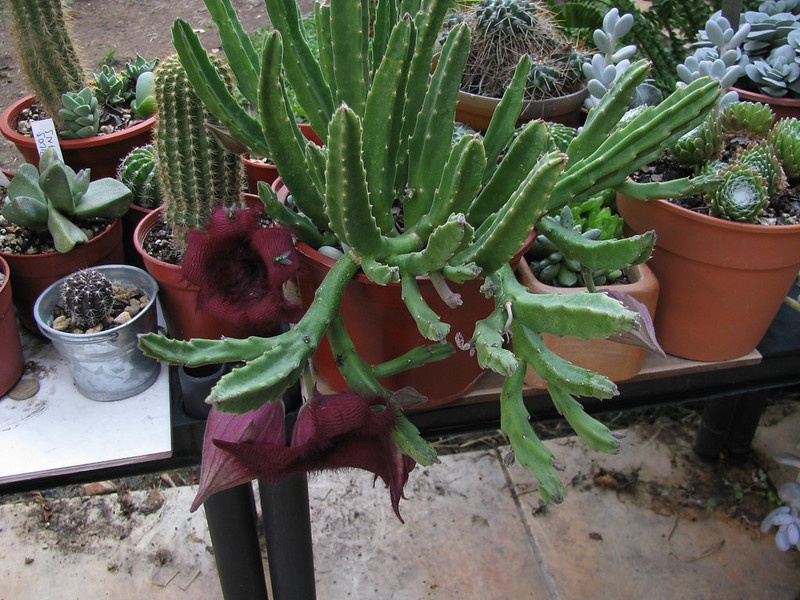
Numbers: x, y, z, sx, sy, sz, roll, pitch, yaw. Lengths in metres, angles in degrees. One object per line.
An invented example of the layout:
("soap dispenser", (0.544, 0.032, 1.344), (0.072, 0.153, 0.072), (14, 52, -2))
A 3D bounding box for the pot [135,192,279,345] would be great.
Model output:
("pot", (-0.330, -0.005, 1.170), (0.219, 0.195, 0.237), (3, 45, -3))

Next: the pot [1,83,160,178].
("pot", (-0.624, -0.307, 1.320), (0.205, 0.098, 0.209), (0, 37, 0))

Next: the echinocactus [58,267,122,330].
("echinocactus", (-0.485, -0.006, 1.070), (0.080, 0.093, 0.084), (-13, 27, -30))

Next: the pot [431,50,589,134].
("pot", (0.260, -0.403, 1.320), (0.253, 0.095, 0.282), (-2, 36, -6))

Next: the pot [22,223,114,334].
("pot", (-0.597, -0.060, 1.256), (0.162, 0.139, 0.182), (0, 29, -3))

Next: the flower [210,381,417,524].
("flower", (-0.096, 0.186, 0.867), (0.187, 0.188, 0.068), (16, 83, -4))

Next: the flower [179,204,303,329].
("flower", (-0.222, -0.028, 0.939), (0.148, 0.062, 0.173), (-2, 85, 8))

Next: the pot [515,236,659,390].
("pot", (0.312, 0.044, 1.197), (0.229, 0.184, 0.243), (0, 42, 0))

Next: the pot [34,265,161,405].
("pot", (-0.485, 0.073, 1.110), (0.179, 0.153, 0.192), (1, 23, 0))

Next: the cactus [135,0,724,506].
("cactus", (0.041, -0.024, 1.057), (0.643, 0.662, 0.744), (24, 51, 19))
